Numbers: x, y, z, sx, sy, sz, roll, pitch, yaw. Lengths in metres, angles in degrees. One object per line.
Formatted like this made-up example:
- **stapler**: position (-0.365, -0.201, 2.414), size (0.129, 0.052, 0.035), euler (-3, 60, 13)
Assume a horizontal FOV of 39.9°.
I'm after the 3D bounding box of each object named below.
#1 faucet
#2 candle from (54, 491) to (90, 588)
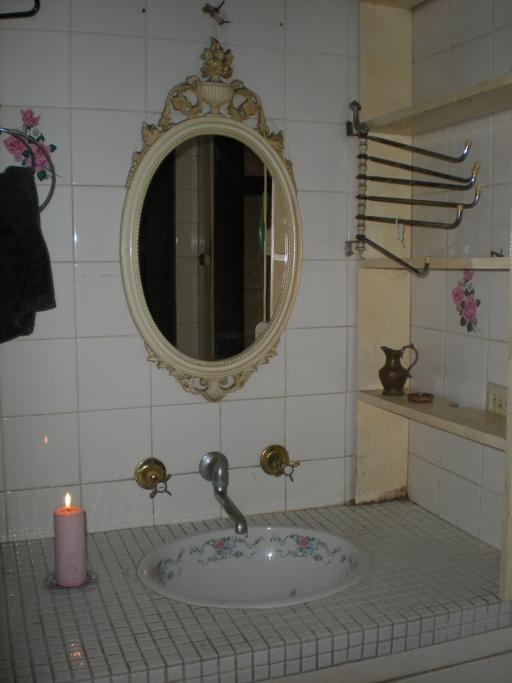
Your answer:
- **faucet**: position (-0.089, 0.366, 1.707), size (0.085, 0.121, 0.209), euler (-6, 13, -12)
- **candle**: position (-0.394, 0.407, 1.504), size (0.069, 0.201, 0.140), euler (-1, 7, -14)
